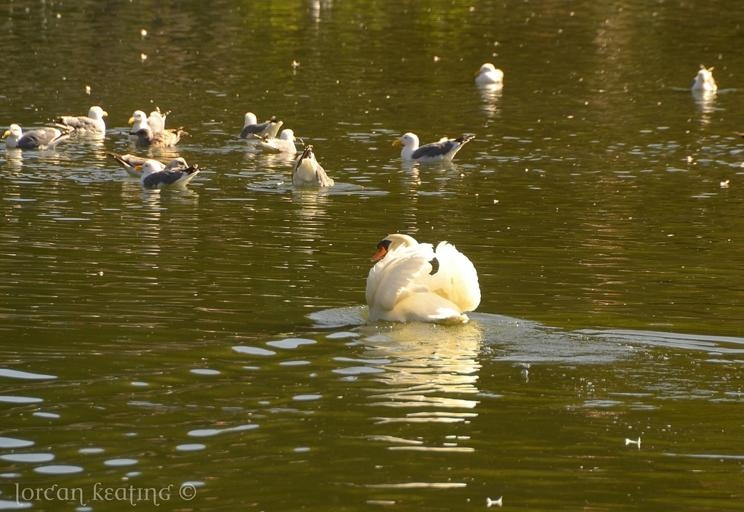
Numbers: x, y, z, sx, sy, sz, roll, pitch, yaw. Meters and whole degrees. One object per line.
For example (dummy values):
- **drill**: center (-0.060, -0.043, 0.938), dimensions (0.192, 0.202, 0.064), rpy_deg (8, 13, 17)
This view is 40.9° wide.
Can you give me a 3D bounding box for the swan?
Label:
- **swan**: center (0.728, 0.448, 17.093), dimensions (2.277, 1.104, 1.847), rpy_deg (15, 6, -4)
